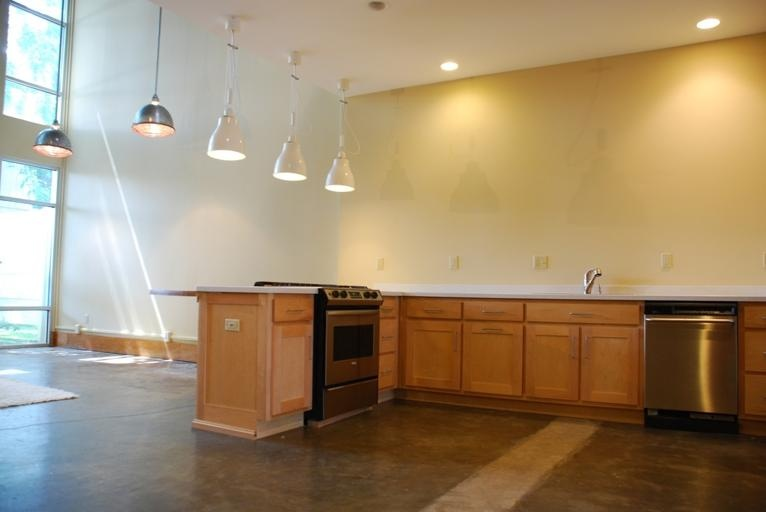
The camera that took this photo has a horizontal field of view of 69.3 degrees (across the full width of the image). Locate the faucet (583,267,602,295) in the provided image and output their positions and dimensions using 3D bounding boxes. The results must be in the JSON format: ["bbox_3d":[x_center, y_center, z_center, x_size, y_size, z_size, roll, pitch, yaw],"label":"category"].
[{"bbox_3d":[2.163,0.268,5.709,0.188,0.256,0.211,2,3,22],"label":"faucet"}]

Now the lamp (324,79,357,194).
[{"bbox_3d":[-0.467,-1.397,6.430,0.343,1.324,1.343,0,3,-5],"label":"lamp"}]

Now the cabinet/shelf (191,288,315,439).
[{"bbox_3d":[-1.391,0.908,5.440,1.185,1.720,1.210,1,1,34],"label":"cabinet/shelf"}]

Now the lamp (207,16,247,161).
[{"bbox_3d":[-1.493,-1.611,5.281,0.307,1.381,0.794,0,3,-17],"label":"lamp"}]
